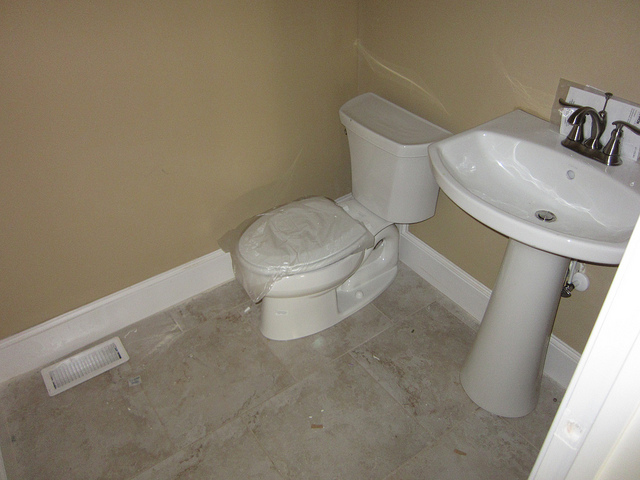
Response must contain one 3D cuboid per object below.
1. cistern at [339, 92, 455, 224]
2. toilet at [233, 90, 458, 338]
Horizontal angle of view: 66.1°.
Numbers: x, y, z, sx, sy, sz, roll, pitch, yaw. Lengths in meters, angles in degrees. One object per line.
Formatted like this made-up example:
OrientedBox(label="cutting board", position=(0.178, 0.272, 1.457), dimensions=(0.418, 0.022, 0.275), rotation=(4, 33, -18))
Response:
OrientedBox(label="cistern", position=(0.317, -0.373, 2.326), dimensions=(0.294, 0.434, 0.556), rotation=(-24, 44, -28))
OrientedBox(label="toilet", position=(0.057, -0.065, 2.305), dimensions=(0.901, 0.910, 0.582), rotation=(-23, 44, -24))
